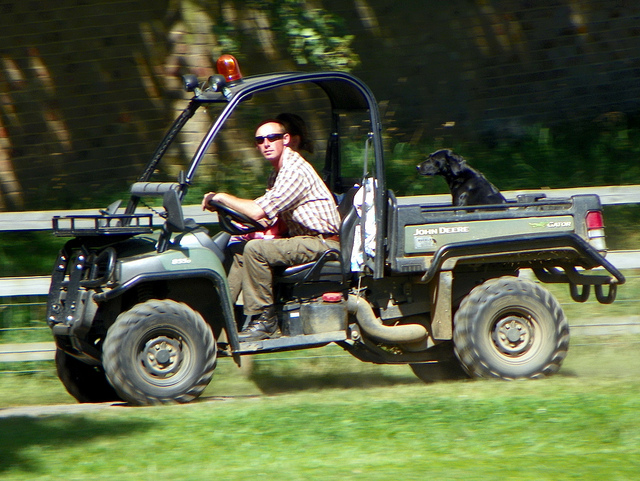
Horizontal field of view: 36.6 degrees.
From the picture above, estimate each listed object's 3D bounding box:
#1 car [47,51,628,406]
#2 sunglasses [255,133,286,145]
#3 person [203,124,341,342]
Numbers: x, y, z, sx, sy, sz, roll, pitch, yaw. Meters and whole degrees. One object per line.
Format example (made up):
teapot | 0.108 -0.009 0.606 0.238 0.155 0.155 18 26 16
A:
car | -0.022 -0.085 7.574 4.218 2.727 1.238 -4 13 -10
sunglasses | -0.375 -0.807 7.633 0.236 0.089 0.088 -2 11 -2
person | -0.336 -0.093 7.577 1.045 1.632 0.511 -11 15 -29
